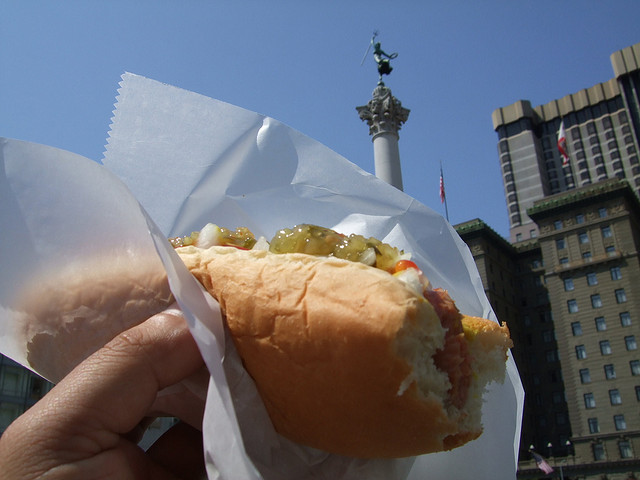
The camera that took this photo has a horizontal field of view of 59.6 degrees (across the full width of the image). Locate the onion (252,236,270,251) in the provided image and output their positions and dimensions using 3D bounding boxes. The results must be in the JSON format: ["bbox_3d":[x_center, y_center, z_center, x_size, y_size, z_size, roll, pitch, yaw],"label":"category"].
[{"bbox_3d":[-0.349,0.018,3.238,0.062,0.033,0.083,4,11,-29],"label":"onion"}]

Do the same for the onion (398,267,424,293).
[{"bbox_3d":[0.413,0.191,2.577,0.031,0.098,0.096,-42,-15,30],"label":"onion"}]

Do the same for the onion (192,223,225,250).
[{"bbox_3d":[-0.667,0.008,3.300,0.149,0.162,0.063,-24,-42,2],"label":"onion"}]

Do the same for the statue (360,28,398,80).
[{"bbox_3d":[1.235,-3.954,12.225,0.788,1.236,0.320,-6,-8,17],"label":"statue"}]
